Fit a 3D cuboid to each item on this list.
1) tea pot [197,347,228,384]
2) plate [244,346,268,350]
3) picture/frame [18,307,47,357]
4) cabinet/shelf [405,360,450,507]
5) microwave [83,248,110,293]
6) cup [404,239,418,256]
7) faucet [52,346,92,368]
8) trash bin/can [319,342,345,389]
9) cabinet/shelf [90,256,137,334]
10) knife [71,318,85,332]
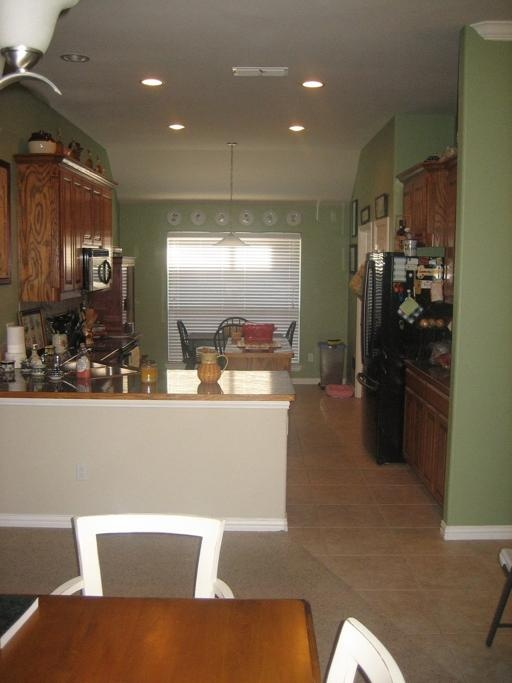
[{"bbox_3d":[-0.280,0.151,3.445,0.167,0.212,0.262,1,6,5],"label":"tea pot"},{"bbox_3d":[0.013,0.073,5.711,0.265,0.056,0.066,0,6,-2],"label":"plate"},{"bbox_3d":[-1.796,-0.080,4.405,0.399,0.352,0.026,-8,-1,43],"label":"picture/frame"},{"bbox_3d":[1.201,0.641,3.794,0.293,0.596,0.926,1,5,10],"label":"cabinet/shelf"},{"bbox_3d":[-1.475,-0.671,5.143,0.230,0.368,0.435,6,10,20],"label":"microwave"},{"bbox_3d":[1.188,-0.722,4.205,0.111,0.118,0.113,-1,11,0],"label":"cup"},{"bbox_3d":[-1.385,0.115,4.087,0.215,0.218,0.121,2,7,-15],"label":"faucet"},{"bbox_3d":[1.073,0.328,7.698,0.375,0.681,0.567,2,6,10],"label":"trash bin/can"},{"bbox_3d":[-1.654,-0.539,6.385,0.328,0.876,0.932,-1,7,-7],"label":"cabinet/shelf"},{"bbox_3d":[-1.615,-0.147,5.093,0.104,0.096,0.178,6,5,-7],"label":"knife"}]
